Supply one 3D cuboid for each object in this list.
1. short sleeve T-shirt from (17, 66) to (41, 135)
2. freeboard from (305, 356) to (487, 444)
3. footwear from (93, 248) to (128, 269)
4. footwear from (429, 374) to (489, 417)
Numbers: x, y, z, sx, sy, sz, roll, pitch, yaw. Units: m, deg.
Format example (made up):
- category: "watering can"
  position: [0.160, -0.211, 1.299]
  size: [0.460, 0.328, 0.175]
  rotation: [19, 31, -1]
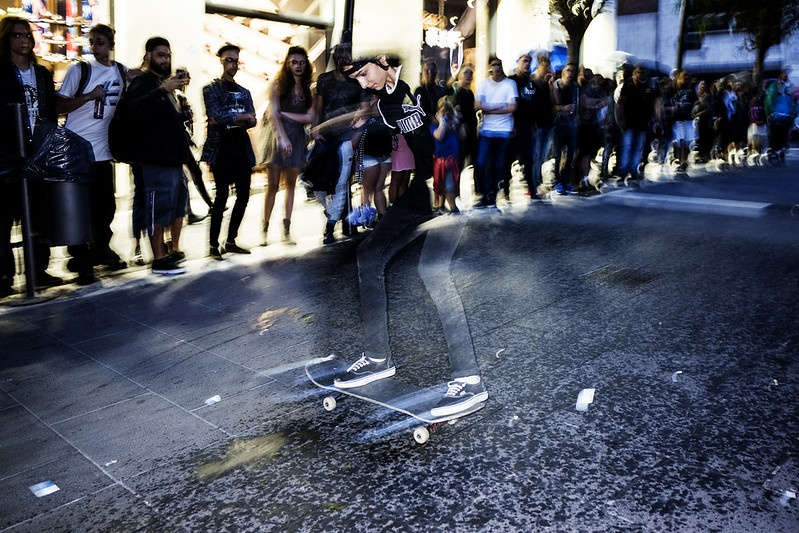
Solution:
- category: "short sleeve T-shirt"
  position: [-3.834, -1.714, 5.916]
  size: [0.104, 0.711, 0.170]
  rotation: [-5, -2, 21]
- category: "freeboard"
  position: [-0.121, 0.888, 4.049]
  size: [1.292, 0.212, 0.495]
  rotation: [12, 17, 33]
- category: "footwear"
  position: [-3.448, -0.125, 6.821]
  size: [0.460, 0.313, 0.151]
  rotation: [-6, 42, -34]
- category: "footwear"
  position: [0.396, 0.870, 3.869]
  size: [0.452, 0.173, 0.164]
  rotation: [-10, -4, -33]
